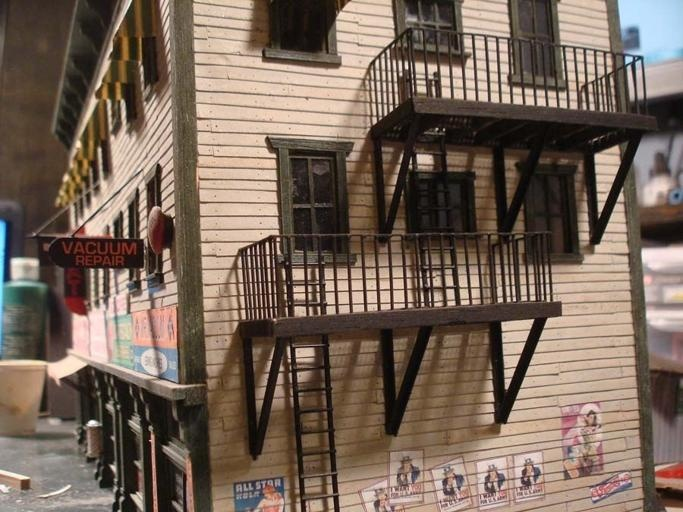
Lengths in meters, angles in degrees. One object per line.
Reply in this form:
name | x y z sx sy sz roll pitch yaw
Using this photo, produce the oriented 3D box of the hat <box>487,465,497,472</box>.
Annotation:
hat | 3.136 4.427 21.443 0.138 0.145 0.034 -2 -8 -5
